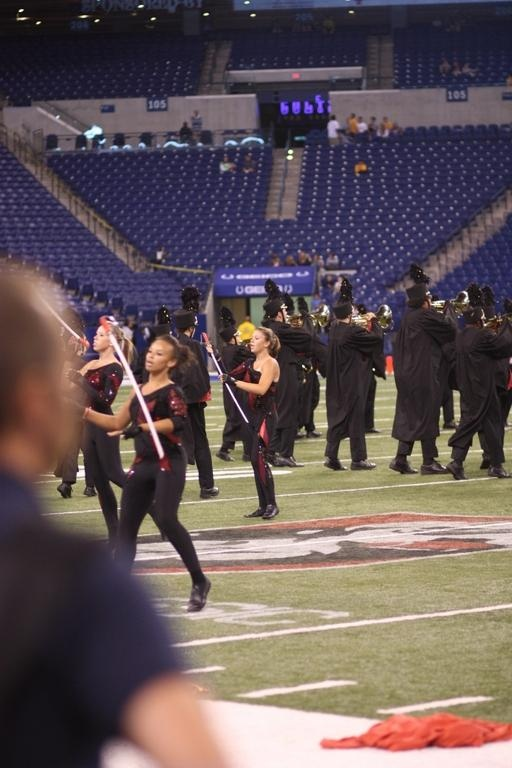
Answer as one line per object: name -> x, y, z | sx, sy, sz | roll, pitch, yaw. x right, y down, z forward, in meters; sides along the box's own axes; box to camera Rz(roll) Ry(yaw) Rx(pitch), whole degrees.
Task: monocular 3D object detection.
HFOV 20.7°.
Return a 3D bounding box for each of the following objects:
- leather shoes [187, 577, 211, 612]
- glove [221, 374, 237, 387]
leather shoes -> -0.276, 1.009, 6.629 | 0.066, 0.082, 0.202 | -3, 16, 9
glove -> -0.215, -0.035, 10.461 | 0.068, 0.043, 0.113 | -21, -22, 39
